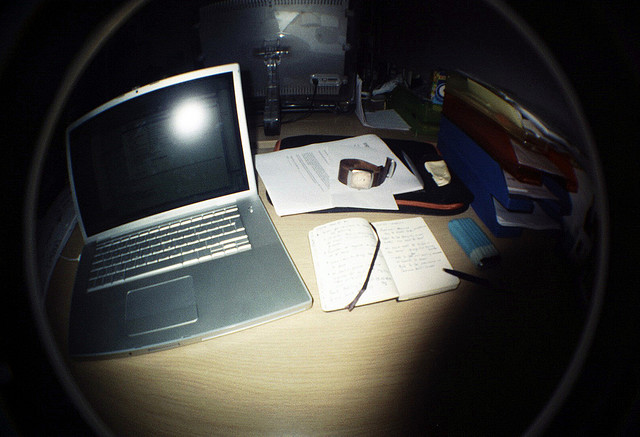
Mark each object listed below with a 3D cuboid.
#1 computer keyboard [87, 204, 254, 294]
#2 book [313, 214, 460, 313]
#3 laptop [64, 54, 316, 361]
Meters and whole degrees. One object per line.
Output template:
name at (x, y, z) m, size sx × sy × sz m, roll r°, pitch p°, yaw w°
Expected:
computer keyboard at (-0.302, 0.061, 0.943) m, size 0.332 × 0.034 × 0.130 m, roll -15°, pitch 53°, yaw -5°
book at (0.127, 0.079, 0.947) m, size 0.266 × 0.089 × 0.202 m, roll -8°, pitch 32°, yaw -6°
laptop at (-0.277, -0.061, 0.875) m, size 0.440 × 0.440 × 0.394 m, roll -14°, pitch 33°, yaw -15°
